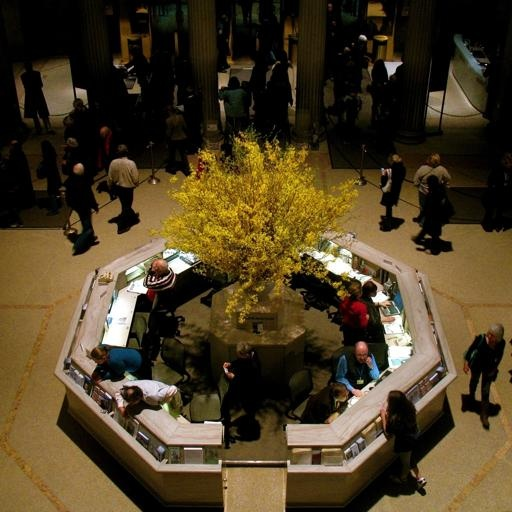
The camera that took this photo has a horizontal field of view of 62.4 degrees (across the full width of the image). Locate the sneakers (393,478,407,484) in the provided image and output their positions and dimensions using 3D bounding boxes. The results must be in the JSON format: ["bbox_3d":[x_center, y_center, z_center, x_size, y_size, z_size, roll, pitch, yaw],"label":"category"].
[{"bbox_3d":[1.420,2.219,4.167,0.116,0.048,0.049,9,37,16],"label":"sneakers"}]

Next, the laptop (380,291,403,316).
[{"bbox_3d":[1.883,0.643,5.808,0.275,0.065,0.280,-27,35,20],"label":"laptop"}]

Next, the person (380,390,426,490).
[{"bbox_3d":[1.351,1.688,3.898,0.401,0.893,0.291,1,10,24],"label":"person"}]

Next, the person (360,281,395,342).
[{"bbox_3d":[1.556,0.742,5.409,0.310,0.769,0.279,-30,51,-5],"label":"person"}]

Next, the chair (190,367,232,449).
[{"bbox_3d":[-0.498,1.623,4.526,0.424,0.732,0.449,1,17,-4],"label":"chair"}]

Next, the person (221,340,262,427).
[{"bbox_3d":[-0.178,1.353,4.614,0.428,1.290,0.563,-4,29,-4],"label":"person"}]
